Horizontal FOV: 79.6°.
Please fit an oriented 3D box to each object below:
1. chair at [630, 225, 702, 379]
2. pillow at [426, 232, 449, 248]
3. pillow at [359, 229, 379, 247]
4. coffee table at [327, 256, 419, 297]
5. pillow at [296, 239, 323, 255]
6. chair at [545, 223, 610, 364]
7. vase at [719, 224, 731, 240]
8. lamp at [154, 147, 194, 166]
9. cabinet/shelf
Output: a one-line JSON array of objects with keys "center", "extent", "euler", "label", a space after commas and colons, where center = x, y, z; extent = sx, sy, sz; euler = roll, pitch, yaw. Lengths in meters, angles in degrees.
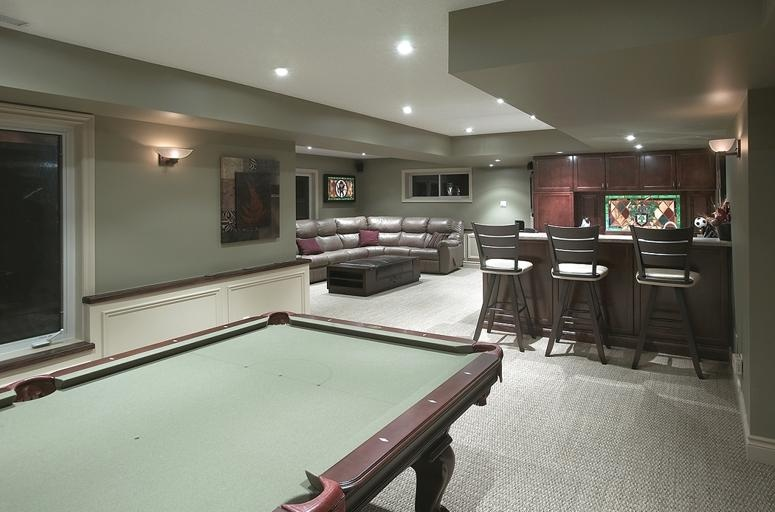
[{"center": [2.662, 0.357, 4.436], "extent": [0.693, 1.352, 0.749], "euler": [5, 15, 27], "label": "chair"}, {"center": [1.045, -0.348, 9.787], "extent": [0.426, 0.268, 0.382], "euler": [3, 14, 21], "label": "pillow"}, {"center": [-0.424, -0.399, 10.180], "extent": [0.403, 0.344, 0.137], "euler": [-1, -10, -7], "label": "pillow"}, {"center": [-0.248, 0.310, 7.981], "extent": [0.800, 0.569, 1.521], "euler": [9, 17, 39], "label": "coffee table"}, {"center": [-1.473, -0.192, 8.876], "extent": [0.503, 0.322, 0.282], "euler": [-13, 17, -40], "label": "pillow"}, {"center": [1.944, 0.322, 4.755], "extent": [0.632, 1.352, 0.709], "euler": [4, 15, 24], "label": "chair"}, {"center": [3.256, -0.231, 4.489], "extent": [0.125, 0.099, 0.136], "euler": [5, 11, 25], "label": "vase"}, {"center": [-2.084, -0.999, 4.644], "extent": [0.176, 0.185, 0.397], "euler": [6, 15, 32], "label": "lamp"}, {"center": [4.041, -1.124, 8.137], "extent": [2.859, 1.414, 0.490], "euler": [3, 15, 21], "label": "cabinet/shelf"}]
